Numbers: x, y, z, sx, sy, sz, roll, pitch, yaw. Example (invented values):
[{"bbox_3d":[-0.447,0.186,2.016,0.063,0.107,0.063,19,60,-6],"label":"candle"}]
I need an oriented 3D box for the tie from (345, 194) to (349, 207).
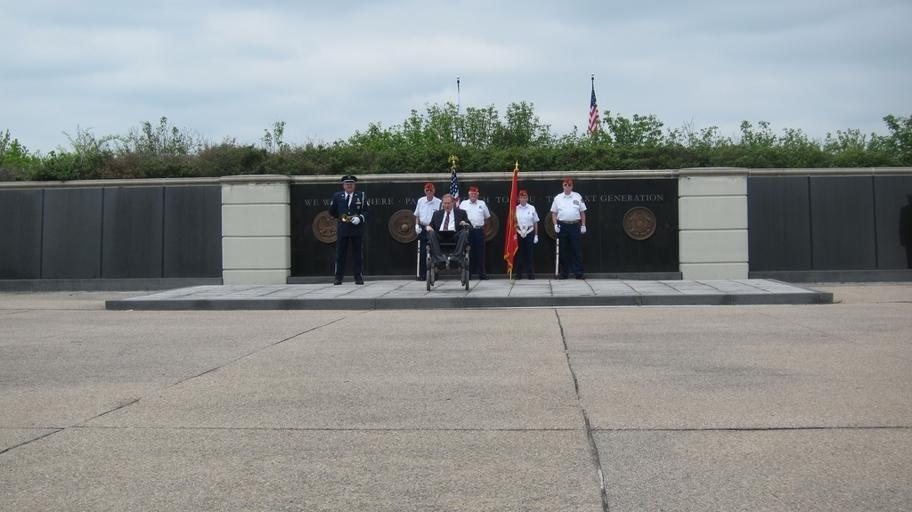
[{"bbox_3d":[-2.722,-1.375,22.711,0.069,0.299,0.088,17,-25,-23],"label":"tie"}]

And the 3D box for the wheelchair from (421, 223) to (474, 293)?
[{"bbox_3d":[-0.216,0.067,20.816,0.999,1.377,0.959,-1,2,5],"label":"wheelchair"}]

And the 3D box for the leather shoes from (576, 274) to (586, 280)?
[{"bbox_3d":[3.167,0.543,23.440,0.221,0.127,0.215,1,1,1],"label":"leather shoes"}]

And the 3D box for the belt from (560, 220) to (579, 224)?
[{"bbox_3d":[2.878,-0.864,23.286,0.521,0.091,0.071,-1,2,6],"label":"belt"}]

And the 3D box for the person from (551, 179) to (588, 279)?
[{"bbox_3d":[2.922,-0.677,23.366,1.088,2.376,0.904,-1,0,1],"label":"person"}]

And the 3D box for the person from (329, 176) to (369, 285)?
[{"bbox_3d":[-2.691,-0.656,22.790,0.918,2.710,0.649,-2,2,-4],"label":"person"}]

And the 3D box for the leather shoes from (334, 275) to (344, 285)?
[{"bbox_3d":[-2.970,0.627,22.797,0.118,0.204,0.356,-1,-11,6],"label":"leather shoes"}]

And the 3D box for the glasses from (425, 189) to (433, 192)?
[{"bbox_3d":[-0.694,-1.647,22.906,0.181,0.073,0.401,-2,3,-2],"label":"glasses"}]

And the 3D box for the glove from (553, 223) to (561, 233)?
[{"bbox_3d":[2.587,-0.701,23.447,0.176,0.080,0.197,2,-27,12],"label":"glove"}]

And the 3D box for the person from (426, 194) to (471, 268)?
[{"bbox_3d":[-0.180,-0.577,21.109,0.657,1.699,0.746,0,0,7],"label":"person"}]

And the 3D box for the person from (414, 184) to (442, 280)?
[{"bbox_3d":[-0.829,-0.614,23.184,0.828,2.329,0.926,0,0,6],"label":"person"}]

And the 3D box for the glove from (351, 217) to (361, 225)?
[{"bbox_3d":[-2.491,-0.875,22.544,0.229,0.201,0.128,-3,3,-20],"label":"glove"}]

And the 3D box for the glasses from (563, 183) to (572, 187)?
[{"bbox_3d":[2.833,-1.823,23.345,0.169,0.113,0.265,2,-2,3],"label":"glasses"}]

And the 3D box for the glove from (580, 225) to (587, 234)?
[{"bbox_3d":[3.239,-0.681,23.414,0.163,0.207,0.087,-2,-1,-9],"label":"glove"}]

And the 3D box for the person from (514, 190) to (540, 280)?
[{"bbox_3d":[1.780,-0.520,23.685,0.846,2.038,0.871,0,0,8],"label":"person"}]
